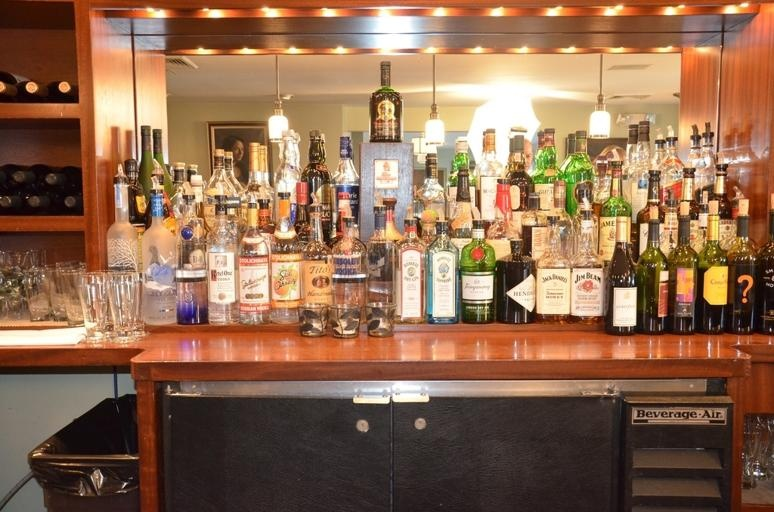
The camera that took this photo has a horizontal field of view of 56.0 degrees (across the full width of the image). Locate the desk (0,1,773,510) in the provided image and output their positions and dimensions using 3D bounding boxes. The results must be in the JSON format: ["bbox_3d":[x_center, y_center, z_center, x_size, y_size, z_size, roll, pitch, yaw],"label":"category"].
[{"bbox_3d":[-0.021,-0.068,2.851,2.998,1.970,1.272,-1,3,-8],"label":"desk"}]
